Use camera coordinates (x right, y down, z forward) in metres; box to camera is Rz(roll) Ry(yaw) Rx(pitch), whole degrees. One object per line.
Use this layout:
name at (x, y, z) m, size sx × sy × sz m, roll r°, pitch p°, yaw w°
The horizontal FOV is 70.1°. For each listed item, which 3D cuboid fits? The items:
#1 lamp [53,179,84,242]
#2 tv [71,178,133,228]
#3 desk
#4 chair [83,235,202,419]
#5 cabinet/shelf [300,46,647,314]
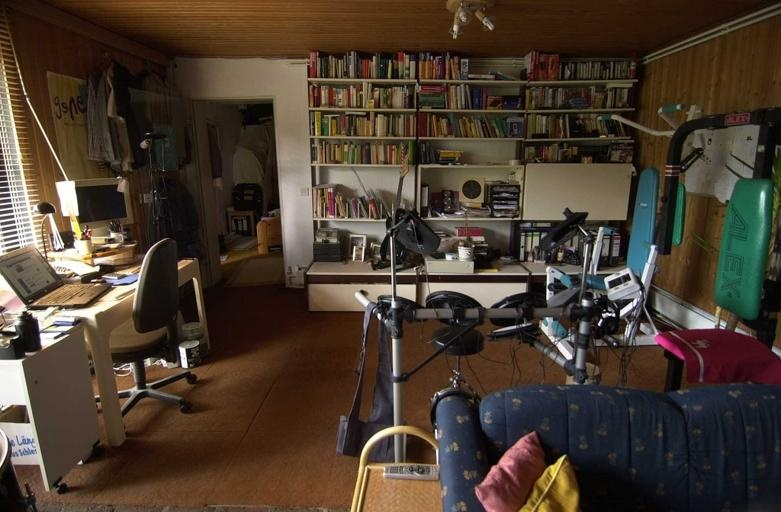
lamp at (-2.980, -0.413, 5.177) m, size 0.135 × 0.551 × 0.295 m, roll -10°, pitch 14°, yaw -35°
tv at (-2.742, -0.470, 5.380) m, size 0.591 × 0.419 × 0.121 m, roll -5°, pitch 4°, yaw 12°
desk at (-2.395, 0.645, 5.110) m, size 1.856 × 1.370 × 1.397 m, roll -3°, pitch 7°, yaw -14°
chair at (-2.223, 0.613, 4.837) m, size 0.941 × 1.435 × 0.889 m, roll 0°, pitch 10°, yaw 20°
cabinet/shelf at (0.896, -0.666, 6.787) m, size 3.459 × 2.512 × 0.991 m, roll -1°, pitch 8°, yaw 1°
